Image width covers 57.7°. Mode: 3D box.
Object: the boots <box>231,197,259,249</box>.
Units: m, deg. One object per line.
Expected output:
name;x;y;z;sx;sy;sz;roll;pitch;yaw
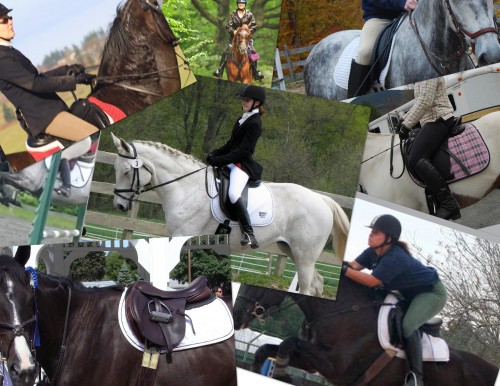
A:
boots;-0.039;0.263;3.950;0.189;0.462;0.113;-4;5;0

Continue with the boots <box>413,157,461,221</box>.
boots;1.813;-0.051;4.369;0.346;0.727;0.177;-22;19;13

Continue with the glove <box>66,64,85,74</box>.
glove;-1.593;-1.137;4.154;0.110;0.044;0.081;-19;4;-37

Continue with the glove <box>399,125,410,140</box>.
glove;1.505;-0.592;4.461;0.114;0.115;0.088;5;5;-45

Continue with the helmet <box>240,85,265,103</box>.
helmet;0.024;-0.856;3.936;0.191;0.113;0.148;18;3;-10

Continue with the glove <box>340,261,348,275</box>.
glove;0.918;0.726;4.352;0.085;0.114;0.105;2;-4;0

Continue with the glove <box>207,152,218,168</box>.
glove;-0.333;-0.294;3.952;0.114;0.099;0.041;16;-7;36

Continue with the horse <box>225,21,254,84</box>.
horse;-0.140;-1.453;5.335;0.269;0.836;1.203;3;5;-6

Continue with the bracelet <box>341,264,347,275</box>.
bracelet;0.911;0.743;4.403;0.059;0.095;0.051;-2;-7;44

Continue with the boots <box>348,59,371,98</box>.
boots;1.065;-1.128;4.622;0.250;0.482;0.337;5;1;11

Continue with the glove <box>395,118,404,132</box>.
glove;1.466;-0.673;4.484;0.035;0.102;0.071;17;6;-14
